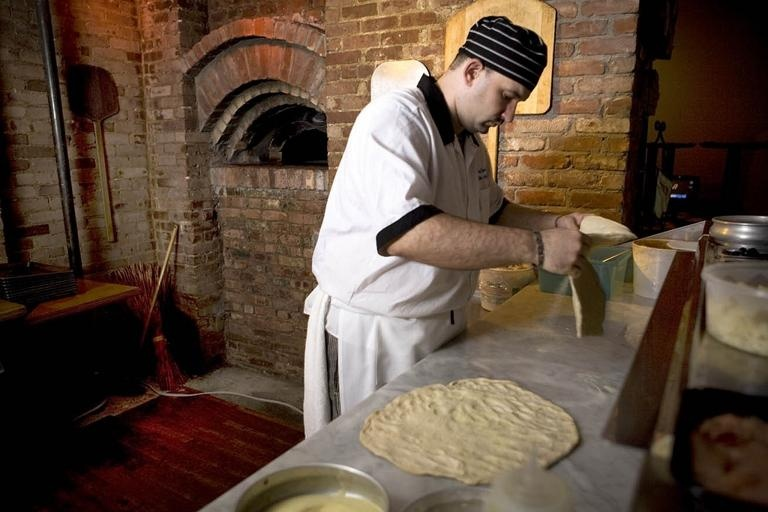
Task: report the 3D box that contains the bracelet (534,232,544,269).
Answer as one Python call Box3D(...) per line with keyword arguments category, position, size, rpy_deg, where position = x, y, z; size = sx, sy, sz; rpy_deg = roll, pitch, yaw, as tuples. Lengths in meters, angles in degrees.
Box3D(category="bracelet", position=(0.534, -0.025, 1.821), size=(0.031, 0.118, 0.058), rpy_deg=(-1, 14, -4))

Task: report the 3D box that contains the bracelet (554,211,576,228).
Box3D(category="bracelet", position=(0.819, -0.163, 2.393), size=(0.091, 0.088, 0.071), rpy_deg=(11, 2, 28))

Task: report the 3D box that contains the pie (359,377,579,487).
Box3D(category="pie", position=(0.240, 0.504, 1.494), size=(0.615, 0.086, 0.332), rpy_deg=(-3, 14, -14))

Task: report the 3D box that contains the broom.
Box3D(category="broom", position=(-1.923, 0.586, 4.426), size=(0.457, 0.942, 0.776), rpy_deg=(-13, 19, -42))

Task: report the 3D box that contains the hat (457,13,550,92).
Box3D(category="hat", position=(0.489, -0.733, 2.059), size=(0.290, 0.159, 0.279), rpy_deg=(11, 29, -52))

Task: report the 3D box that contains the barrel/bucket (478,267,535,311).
Box3D(category="barrel/bucket", position=(0.579, 0.133, 2.461), size=(0.214, 0.168, 0.229), rpy_deg=(-1, 3, 0))
